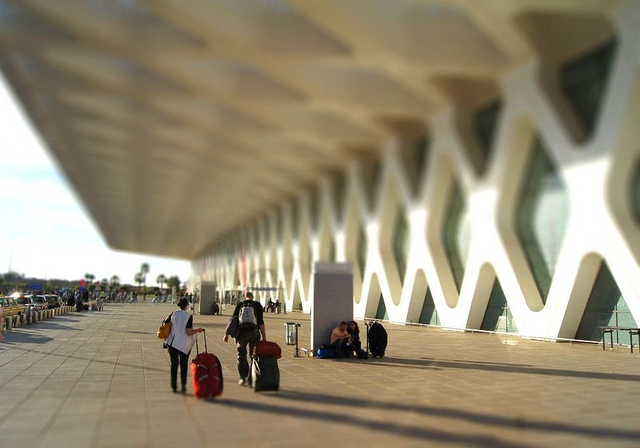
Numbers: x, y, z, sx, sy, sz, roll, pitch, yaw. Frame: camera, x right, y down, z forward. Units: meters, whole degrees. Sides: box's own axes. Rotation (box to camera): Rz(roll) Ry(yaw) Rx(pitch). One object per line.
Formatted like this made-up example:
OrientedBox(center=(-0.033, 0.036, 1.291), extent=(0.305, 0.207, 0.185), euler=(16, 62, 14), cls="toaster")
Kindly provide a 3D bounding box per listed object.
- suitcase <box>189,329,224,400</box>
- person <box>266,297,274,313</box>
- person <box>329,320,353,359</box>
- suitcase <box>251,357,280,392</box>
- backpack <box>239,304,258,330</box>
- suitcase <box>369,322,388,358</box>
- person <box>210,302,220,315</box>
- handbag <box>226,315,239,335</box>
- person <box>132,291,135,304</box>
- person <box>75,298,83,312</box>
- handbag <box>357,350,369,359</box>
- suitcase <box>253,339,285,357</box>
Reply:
OrientedBox(center=(-1.840, 2.218, 6.771), extent=(0.449, 1.158, 0.326), euler=(3, -34, -28), cls="suitcase")
OrientedBox(center=(-4.361, 7.380, 37.583), extent=(0.388, 1.216, 0.805), euler=(3, 2, -16), cls="person")
OrientedBox(center=(0.530, 2.928, 10.528), extent=(0.577, 0.857, 0.276), euler=(2, -10, 3), cls="person")
OrientedBox(center=(-0.922, 2.588, 7.105), extent=(0.458, 0.709, 0.430), euler=(1, -45, -13), cls="suitcase")
OrientedBox(center=(-1.305, 1.698, 7.614), extent=(0.411, 0.676, 0.334), euler=(2, -13, -13), cls="backpack")
OrientedBox(center=(1.458, 3.005, 10.698), extent=(0.496, 0.821, 0.249), euler=(-2, 2, 8), cls="suitcase")
OrientedBox(center=(-7.494, 6.022, 29.766), extent=(0.569, 0.876, 0.676), euler=(2, -10, -2), cls="person")
OrientedBox(center=(-1.558, 1.835, 7.596), extent=(0.205, 0.292, 0.098), euler=(0, -14, 42), cls="handbag")
OrientedBox(center=(-23.723, 9.381, 53.442), extent=(0.320, 1.090, 0.584), euler=(7, -11, -28), cls="person")
OrientedBox(center=(-18.161, 6.207, 31.759), extent=(0.295, 1.121, 0.794), euler=(-17, -17, 41), cls="person")
OrientedBox(center=(1.052, 3.243, 10.341), extent=(0.160, 0.205, 0.199), euler=(-14, -32, 43), cls="handbag")
OrientedBox(center=(-0.921, 2.152, 7.226), extent=(0.443, 0.278, 0.320), euler=(4, -11, -7), cls="suitcase")
